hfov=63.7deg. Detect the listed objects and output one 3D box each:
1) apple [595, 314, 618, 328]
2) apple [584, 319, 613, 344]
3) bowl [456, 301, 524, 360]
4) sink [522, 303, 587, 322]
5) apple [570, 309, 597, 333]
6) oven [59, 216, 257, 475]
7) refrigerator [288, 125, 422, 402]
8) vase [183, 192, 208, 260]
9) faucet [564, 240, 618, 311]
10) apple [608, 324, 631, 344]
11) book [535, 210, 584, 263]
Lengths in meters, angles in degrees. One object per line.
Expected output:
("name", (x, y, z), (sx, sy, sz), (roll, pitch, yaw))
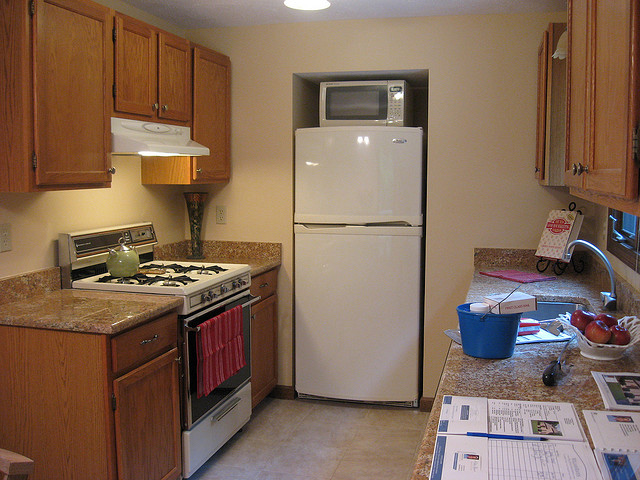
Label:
("apple", (1.100, 0.300, 1.986), (0.056, 0.052, 0.055), (7, 18, 10))
("apple", (1.011, 0.337, 1.881), (0.075, 0.074, 0.077), (15, 9, -12))
("bowl", (0.627, 0.321, 1.919), (0.213, 0.158, 0.220), (-1, -1, 0))
("sink", (1.073, 0.337, 2.371), (0.290, 0.076, 0.160), (-1, 5, 14))
("apple", (0.987, 0.300, 1.966), (0.080, 0.073, 0.079), (6, 25, 1))
("oven", (-0.984, 0.456, 3.773), (1.282, 2.019, 1.354), (1, 7, 14))
("refrigerator", (0.233, 0.176, 3.616), (0.896, 1.908, 0.383), (0, 11, 0))
("vase", (-0.894, -0.108, 3.767), (0.159, 0.493, 0.115), (12, 9, 21))
("faucet", (1.253, 0.171, 2.411), (0.173, 0.344, 0.282), (5, 11, 17))
("apple", (1.084, 0.344, 1.879), (0.060, 0.057, 0.059), (-1, 0, -1))
("book", (1.435, -0.035, 3.134), (0.179, 0.286, 0.216), (-6, 13, -28))
